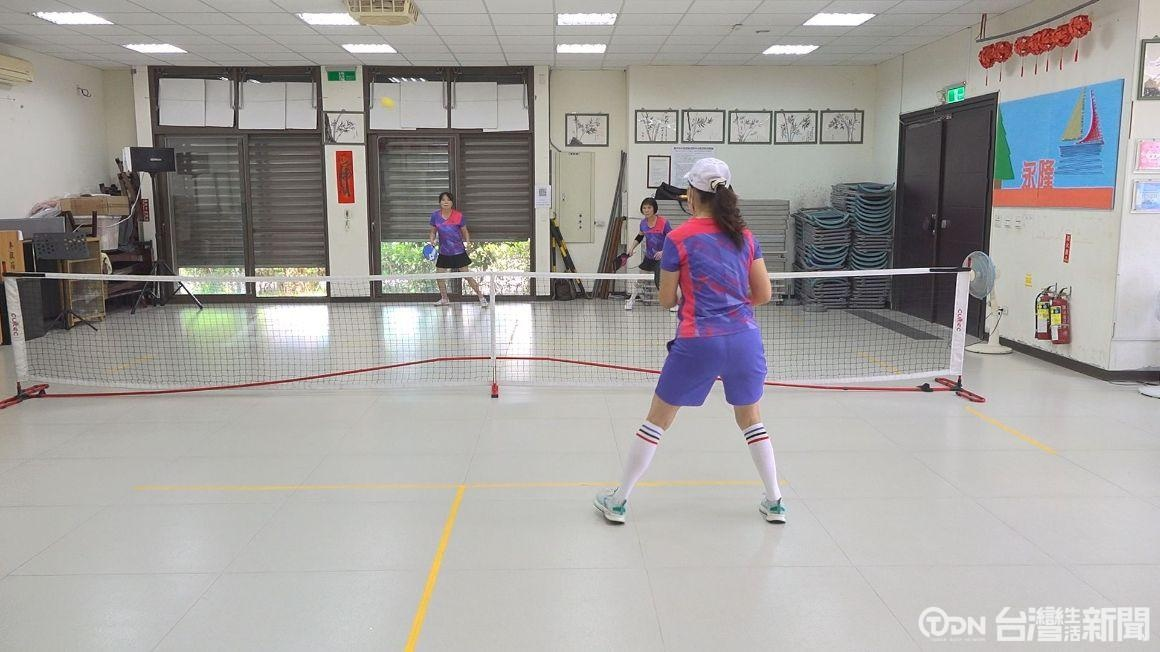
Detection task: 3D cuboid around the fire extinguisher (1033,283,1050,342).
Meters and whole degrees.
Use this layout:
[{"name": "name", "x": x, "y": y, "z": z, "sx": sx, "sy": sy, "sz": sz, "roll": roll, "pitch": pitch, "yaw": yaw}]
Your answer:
[{"name": "fire extinguisher", "x": 6.141, "y": -0.175, "z": 9.264, "sx": 0.183, "sy": 0.680, "sz": 0.348, "roll": 7, "pitch": 14, "yaw": 32}]

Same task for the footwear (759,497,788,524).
[{"name": "footwear", "x": 1.659, "y": 1.583, "z": 5.992, "sx": 0.126, "sy": 0.118, "sz": 0.279, "roll": 0, "pitch": 8, "yaw": -1}]

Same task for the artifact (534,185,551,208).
[{"name": "artifact", "x": -0.700, "y": -2.500, "z": 13.485, "sx": 0.328, "sy": 0.398, "sz": 0.098, "roll": -1, "pitch": 4, "yaw": 3}]

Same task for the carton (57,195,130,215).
[{"name": "carton", "x": -8.535, "y": -2.111, "z": 12.246, "sx": 0.563, "sy": 0.179, "sz": 0.575, "roll": 2, "pitch": 6, "yaw": 16}]

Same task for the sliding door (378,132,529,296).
[{"name": "sliding door", "x": -2.402, "y": -2.301, "z": 13.275, "sx": 3.776, "sy": 3.508, "sz": 0.279, "roll": 0, "pitch": 2, "yaw": -2}]

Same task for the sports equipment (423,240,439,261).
[{"name": "sports equipment", "x": -2.693, "y": -1.358, "z": 12.792, "sx": 0.330, "sy": 0.302, "sz": 0.249, "roll": -13, "pitch": 27, "yaw": -29}]

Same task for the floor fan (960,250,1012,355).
[{"name": "floor fan", "x": 5.392, "y": -0.281, "z": 9.177, "sx": 0.581, "sy": 1.490, "sz": 2.137, "roll": 7, "pitch": 14, "yaw": 32}]

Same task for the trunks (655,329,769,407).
[{"name": "trunks", "x": 1.139, "y": 0.371, "z": 5.921, "sx": 0.910, "sy": 0.579, "sz": 0.339, "roll": -1, "pitch": 14, "yaw": 2}]

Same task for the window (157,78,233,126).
[{"name": "window", "x": -7.268, "y": -4.294, "z": 13.239, "sx": 1.022, "sy": 0.620, "sz": 0.079, "roll": 0, "pitch": 2, "yaw": -2}]

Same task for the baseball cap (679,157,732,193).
[{"name": "baseball cap", "x": 1.059, "y": -1.274, "z": 5.856, "sx": 0.294, "sy": 0.183, "sz": 0.389, "roll": 0, "pitch": 21, "yaw": -2}]

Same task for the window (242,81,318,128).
[{"name": "window", "x": -5.717, "y": -4.177, "z": 13.249, "sx": 1.406, "sy": 0.875, "sz": 0.161, "roll": -1, "pitch": 12, "yaw": 0}]

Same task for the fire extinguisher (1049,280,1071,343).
[{"name": "fire extinguisher", "x": 6.281, "y": -0.144, "z": 9.144, "sx": 0.272, "sy": 0.730, "sz": 0.308, "roll": 5, "pitch": 14, "yaw": 26}]

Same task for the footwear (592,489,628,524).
[{"name": "footwear", "x": 0.276, "y": 1.562, "z": 5.998, "sx": 0.204, "sy": 0.124, "sz": 0.309, "roll": 1, "pitch": 17, "yaw": -18}]

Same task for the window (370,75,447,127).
[{"name": "window", "x": -3.442, "y": -4.333, "z": 13.551, "sx": 1.530, "sy": 0.940, "sz": 0.848, "roll": -12, "pitch": 31, "yaw": -29}]

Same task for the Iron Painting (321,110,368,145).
[{"name": "Iron Painting", "x": -4.470, "y": -3.803, "z": 13.273, "sx": 0.736, "sy": 0.546, "sz": 0.097, "roll": 0, "pitch": 2, "yaw": -3}]

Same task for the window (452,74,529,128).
[{"name": "window", "x": -1.708, "y": -4.181, "z": 13.318, "sx": 1.398, "sy": 0.867, "sz": 0.155, "roll": -2, "pitch": 12, "yaw": -3}]
